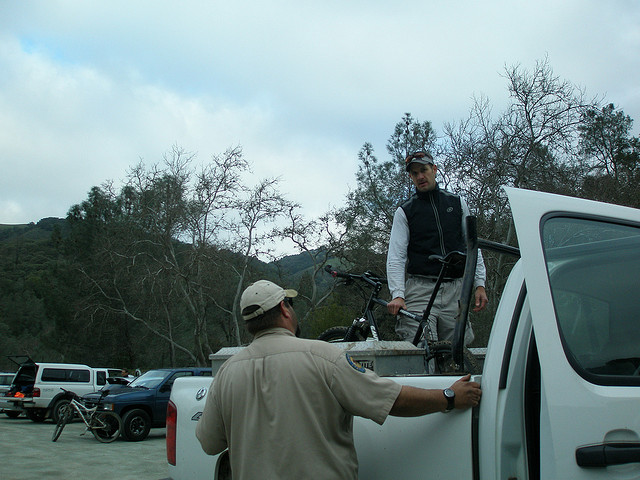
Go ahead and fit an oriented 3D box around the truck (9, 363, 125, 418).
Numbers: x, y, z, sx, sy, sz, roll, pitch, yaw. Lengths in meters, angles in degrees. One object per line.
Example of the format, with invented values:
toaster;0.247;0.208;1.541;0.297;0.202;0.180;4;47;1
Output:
truck;-8.734;4.953;18.720;3.763;1.672;2.231;1;-7;-34

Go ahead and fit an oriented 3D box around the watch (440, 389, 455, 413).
watch;0.590;0.725;2.428;0.048;0.091;0.081;-3;-30;-14

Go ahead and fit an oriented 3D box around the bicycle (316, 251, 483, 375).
bicycle;0.559;0.597;4.193;1.317;1.003;0.758;-5;-10;37

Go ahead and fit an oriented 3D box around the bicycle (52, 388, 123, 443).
bicycle;-6.092;4.575;13.843;1.780;1.309;0.988;4;-13;-13
